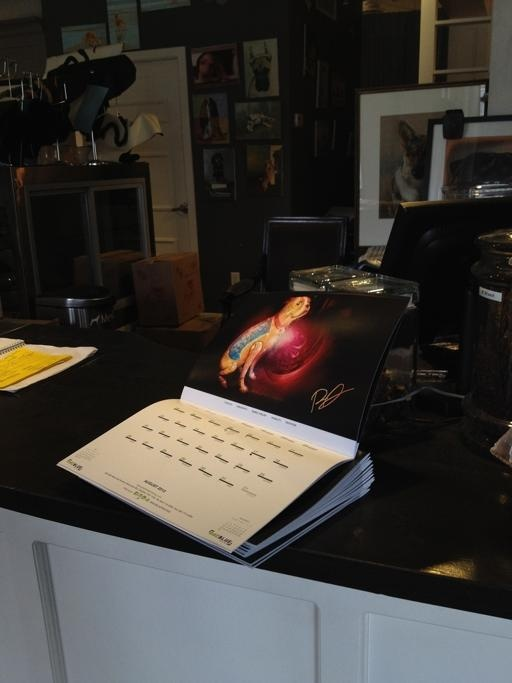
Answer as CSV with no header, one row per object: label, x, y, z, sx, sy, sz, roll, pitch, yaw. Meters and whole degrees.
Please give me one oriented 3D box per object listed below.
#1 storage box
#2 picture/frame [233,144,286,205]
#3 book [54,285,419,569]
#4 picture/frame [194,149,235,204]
storage box,-0.499,-0.277,3.082,0.204,0.323,0.374,3,20,25
picture/frame,0.052,-1.263,4.123,0.317,0.358,0.039,-10,19,-32
book,-0.013,0.008,0.531,0.262,0.159,0.263,-14,18,-41
picture/frame,-0.286,-1.267,4.198,0.290,0.386,0.008,-8,15,-29
